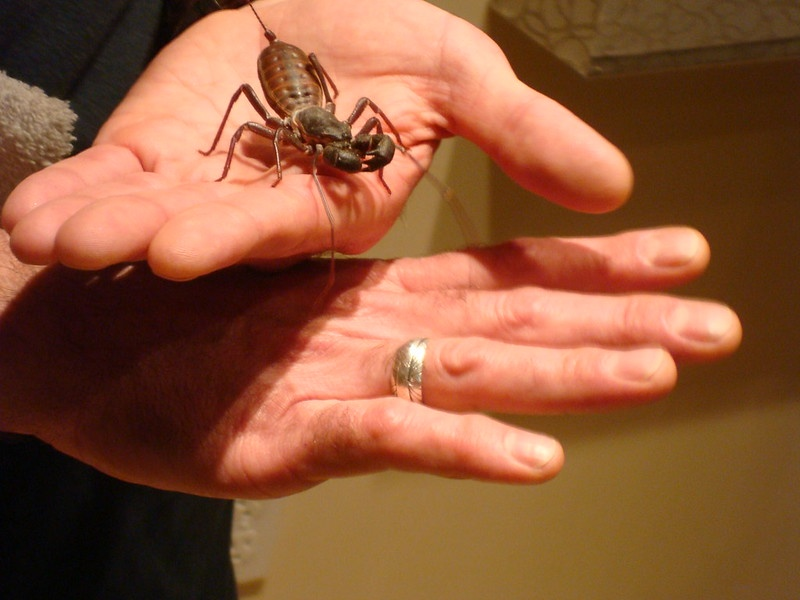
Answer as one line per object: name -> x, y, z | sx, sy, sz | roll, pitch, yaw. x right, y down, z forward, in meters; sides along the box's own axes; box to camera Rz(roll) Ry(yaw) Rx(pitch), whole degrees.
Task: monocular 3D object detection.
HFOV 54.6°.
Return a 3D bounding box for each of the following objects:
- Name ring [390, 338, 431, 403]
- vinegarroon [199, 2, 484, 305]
Name ring -> 0.021, 0.178, 2.049 | 0.093, 0.047, 0.168 | 5, 70, 10
vinegarroon -> -0.255, -0.585, 2.387 | 0.527, 0.293, 1.073 | -18, 48, -17
